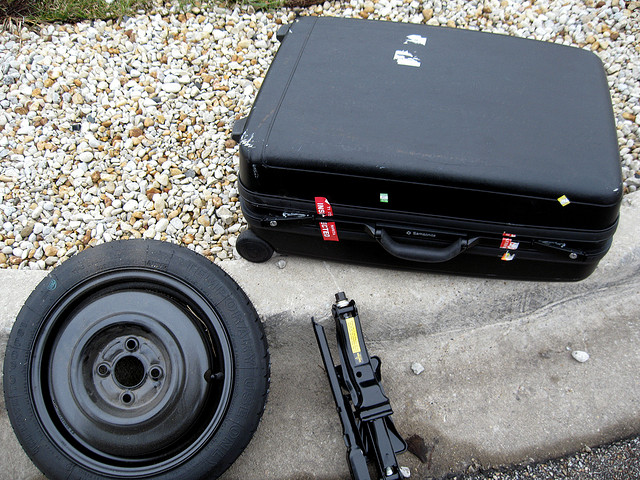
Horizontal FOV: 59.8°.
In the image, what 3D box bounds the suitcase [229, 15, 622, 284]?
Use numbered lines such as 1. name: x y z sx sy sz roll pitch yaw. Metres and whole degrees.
1. suitcase: 0.606 -0.372 3.601 1.884 0.934 1.529 7 59 4
